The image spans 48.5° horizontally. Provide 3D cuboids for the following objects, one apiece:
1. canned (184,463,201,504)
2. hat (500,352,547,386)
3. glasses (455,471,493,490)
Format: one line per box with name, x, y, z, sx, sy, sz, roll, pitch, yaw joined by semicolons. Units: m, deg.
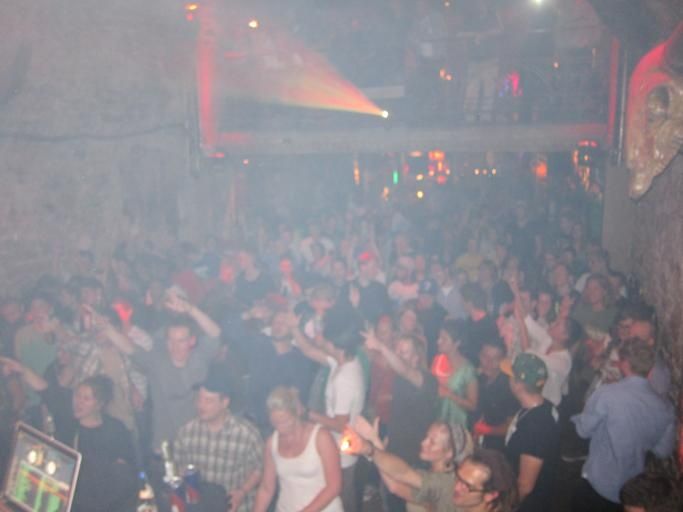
canned;-1.156;1.772;5.854;0.105;0.291;0.121;-4;-4;-10
hat;1.477;0.898;6.132;0.314;0.190;0.233;33;41;21
glasses;1.039;1.794;5.964;0.167;0.053;0.166;10;6;-17
